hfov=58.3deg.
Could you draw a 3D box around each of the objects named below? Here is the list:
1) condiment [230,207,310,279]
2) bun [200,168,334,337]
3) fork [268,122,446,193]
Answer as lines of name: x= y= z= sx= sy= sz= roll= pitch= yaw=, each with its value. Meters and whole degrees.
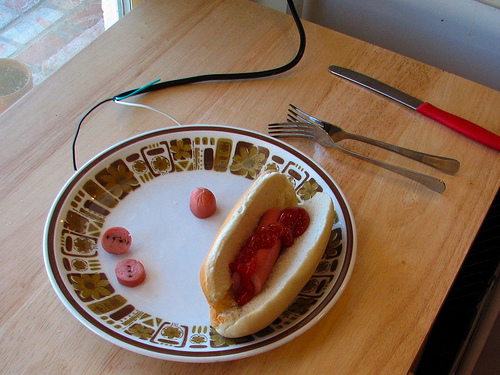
condiment: x=0.051 y=0.112 z=0.905 sx=0.215 sy=0.084 sz=0.068 roll=-43 pitch=129 yaw=-28
bun: x=0.030 y=0.132 z=0.907 sx=0.202 sy=0.109 sz=0.359 roll=27 pitch=68 yaw=3
fork: x=0.249 y=-0.066 z=1.080 sx=0.390 sy=0.045 sz=0.049 roll=20 pitch=104 yaw=12
